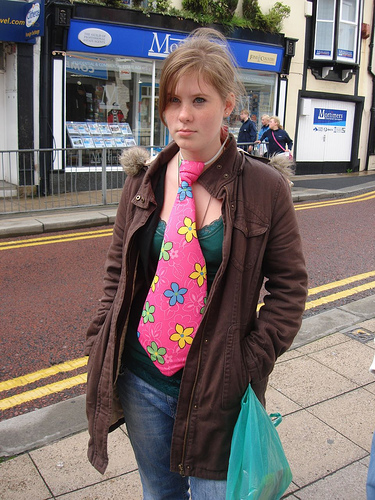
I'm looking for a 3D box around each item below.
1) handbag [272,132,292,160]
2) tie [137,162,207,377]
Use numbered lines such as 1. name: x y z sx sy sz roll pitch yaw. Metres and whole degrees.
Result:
1. handbag: 2.771 -3.079 11.974 0.589 0.633 0.710 0 12 0
2. tie: -0.009 0.054 1.092 0.190 0.559 0.176 -9 15 -40
